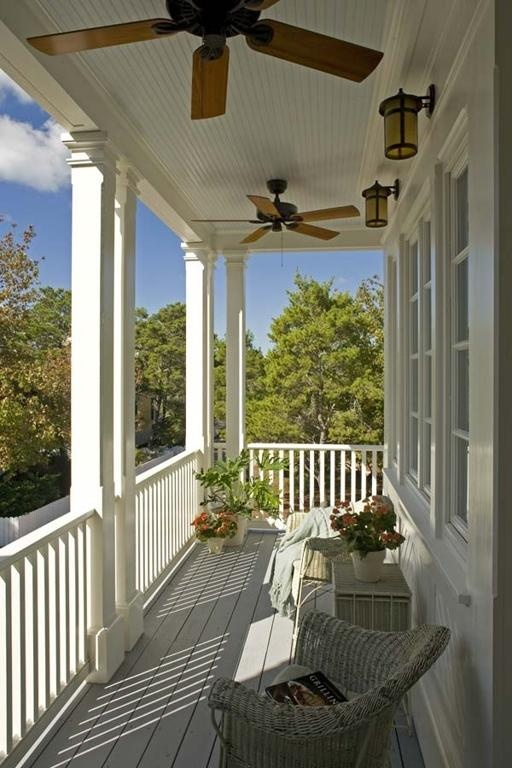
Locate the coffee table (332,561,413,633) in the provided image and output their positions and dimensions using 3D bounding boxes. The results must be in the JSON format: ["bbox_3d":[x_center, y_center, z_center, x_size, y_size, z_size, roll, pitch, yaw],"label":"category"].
[{"bbox_3d":[0.477,0.883,2.422,0.213,0.226,0.240,2,0,2],"label":"coffee table"}]

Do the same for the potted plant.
[{"bbox_3d":[-0.155,0.955,4.861,0.679,0.787,0.562,3,2,-4],"label":"potted plant"}]

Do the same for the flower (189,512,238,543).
[{"bbox_3d":[-0.343,1.167,4.636,0.337,0.246,0.385,0,1,2],"label":"flower"}]

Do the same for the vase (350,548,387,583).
[{"bbox_3d":[0.485,0.772,2.464,0.125,0.108,0.138,1,-7,-8],"label":"vase"}]

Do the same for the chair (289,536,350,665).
[{"bbox_3d":[0.303,1.044,3.007,0.340,0.676,0.411,1,1,0],"label":"chair"}]

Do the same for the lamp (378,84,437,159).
[{"bbox_3d":[0.567,-0.968,2.209,0.156,0.337,0.220,0,0,-5],"label":"lamp"}]

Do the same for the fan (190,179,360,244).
[{"bbox_3d":[0.213,-1.069,3.722,0.926,0.609,0.905,0,1,16],"label":"fan"}]

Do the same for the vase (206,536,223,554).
[{"bbox_3d":[-0.337,1.270,4.613,0.135,0.113,0.142,0,-3,0],"label":"vase"}]

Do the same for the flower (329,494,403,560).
[{"bbox_3d":[0.472,0.608,2.464,0.288,0.213,0.222,0,1,2],"label":"flower"}]
